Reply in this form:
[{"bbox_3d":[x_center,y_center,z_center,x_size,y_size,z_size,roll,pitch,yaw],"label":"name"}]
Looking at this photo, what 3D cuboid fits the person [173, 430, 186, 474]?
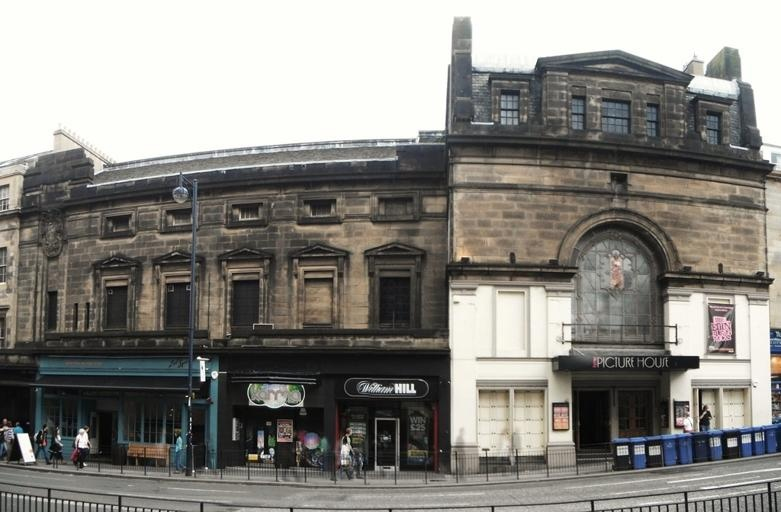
[{"bbox_3d":[-12.772,12.028,78.946,0.790,2.971,1.173,11,-31,-26],"label":"person"}]
